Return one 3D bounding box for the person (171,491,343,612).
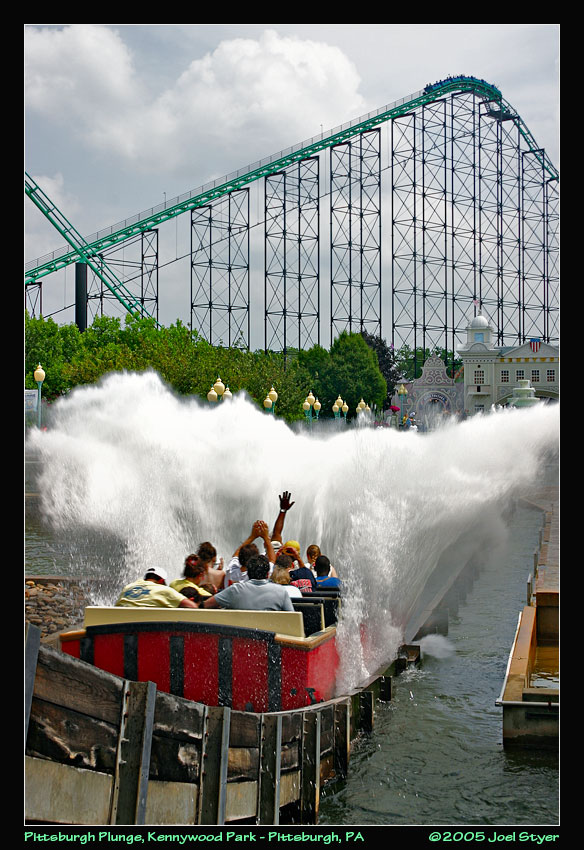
[{"bbox_3d":[-0.331,1.232,10.576,1.178,0.569,1.874,13,12,3],"label":"person"}]
